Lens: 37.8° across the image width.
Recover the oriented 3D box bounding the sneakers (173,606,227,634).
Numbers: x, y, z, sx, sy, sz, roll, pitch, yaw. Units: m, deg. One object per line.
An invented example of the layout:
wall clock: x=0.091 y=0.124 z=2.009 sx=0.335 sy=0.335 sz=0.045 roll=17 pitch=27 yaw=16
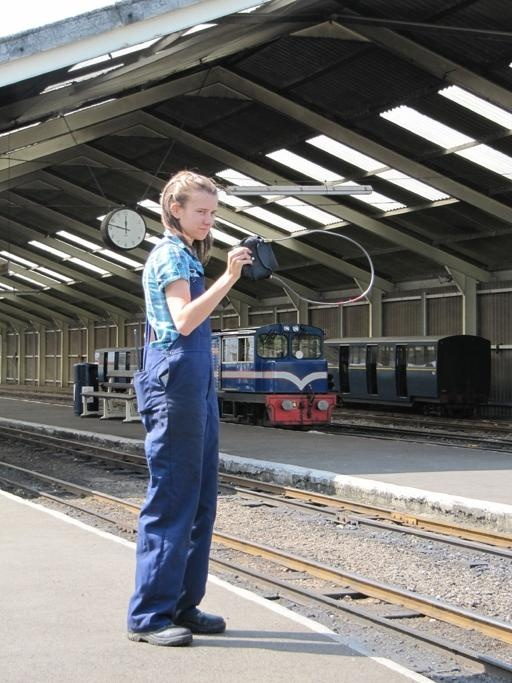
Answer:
sneakers: x=-0.235 y=1.254 z=3.371 sx=0.272 sy=0.095 sz=0.093 roll=1 pitch=-1 yaw=-32

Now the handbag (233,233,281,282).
handbag: x=-0.008 y=-0.329 z=3.005 sx=0.159 sy=0.180 sz=0.086 roll=-16 pitch=4 yaw=-40

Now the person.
person: x=-0.295 y=0.259 z=3.143 sx=0.427 sy=2.052 sz=0.630 roll=2 pitch=-6 yaw=-9

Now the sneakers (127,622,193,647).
sneakers: x=-0.400 y=1.215 z=3.103 sx=0.258 sy=0.095 sz=0.094 roll=-3 pitch=-2 yaw=8
